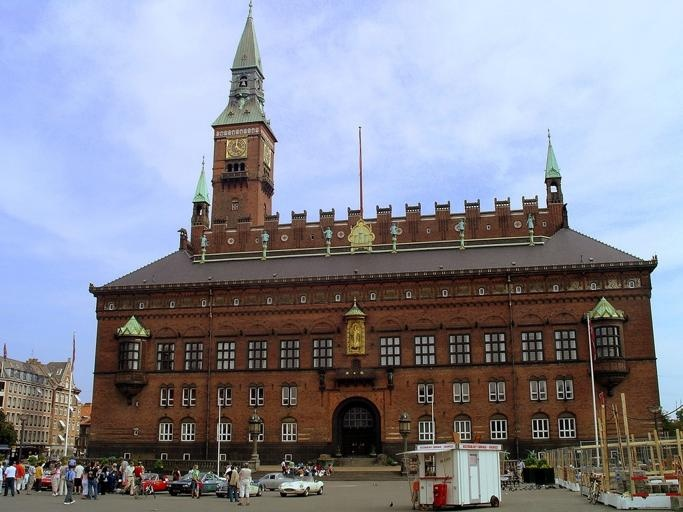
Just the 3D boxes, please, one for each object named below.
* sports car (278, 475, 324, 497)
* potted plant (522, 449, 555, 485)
[{"bbox_3d":[-2.770,16.015,57.116,2.940,1.333,1.798,0,-18,-6],"label":"sports car"},{"bbox_3d":[14.618,16.199,61.460,1.563,2.039,2.490,5,-19,-20],"label":"potted plant"}]
